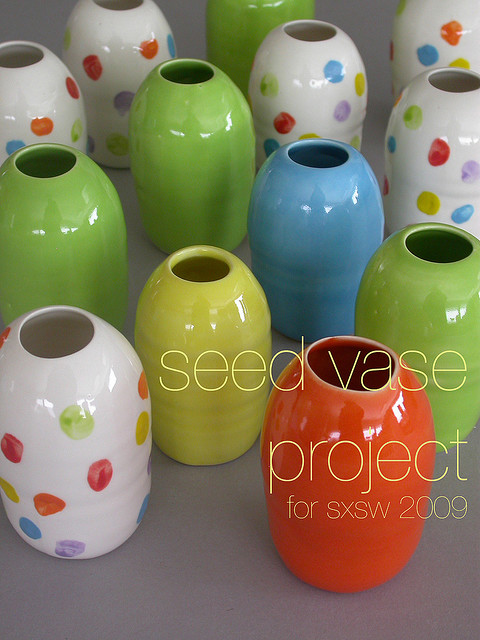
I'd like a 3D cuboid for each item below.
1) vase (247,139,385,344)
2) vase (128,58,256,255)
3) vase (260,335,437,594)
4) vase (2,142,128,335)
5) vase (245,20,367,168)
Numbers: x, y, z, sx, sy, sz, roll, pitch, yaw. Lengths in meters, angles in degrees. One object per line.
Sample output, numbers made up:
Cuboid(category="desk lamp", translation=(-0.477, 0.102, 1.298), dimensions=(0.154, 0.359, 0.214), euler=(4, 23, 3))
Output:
Cuboid(category="vase", translation=(0.087, -0.110, 0.778), dimensions=(0.160, 0.299, 0.215), euler=(-2, 38, 0))
Cuboid(category="vase", translation=(-0.064, -0.197, 0.814), dimensions=(0.166, 0.243, 0.117), euler=(-6, 29, -9))
Cuboid(category="vase", translation=(0.066, 0.083, 0.464), dimensions=(0.124, 0.234, 0.153), euler=(-2, 36, 2))
Cuboid(category="vase", translation=(-0.191, -0.061, 0.631), dimensions=(0.133, 0.190, 0.086), euler=(-7, 29, -11))
Cuboid(category="vase", translation=(0.113, -0.359, 1.006), dimensions=(0.166, 0.275, 0.243), euler=(12, 43, 17))
